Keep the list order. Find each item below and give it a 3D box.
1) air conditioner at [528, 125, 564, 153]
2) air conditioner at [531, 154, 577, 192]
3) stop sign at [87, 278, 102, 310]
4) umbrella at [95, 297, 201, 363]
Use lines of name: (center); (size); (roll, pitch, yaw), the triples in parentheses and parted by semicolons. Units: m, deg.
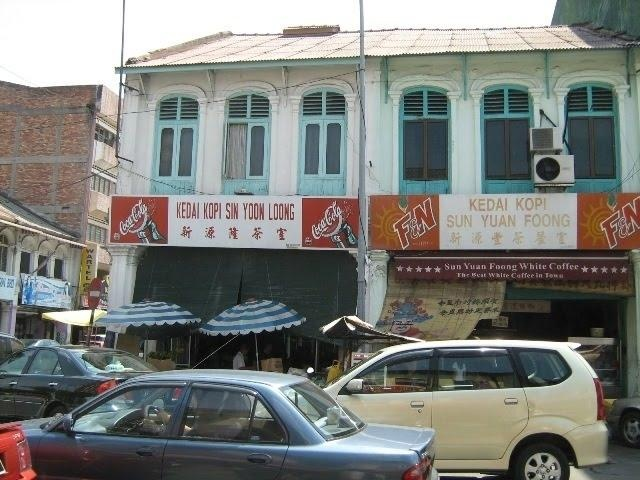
air conditioner: (5.936, -2.560, 18.130); (1.131, 0.862, 0.603); (0, -15, 8)
air conditioner: (6.122, -1.776, 18.091); (1.500, 1.181, 0.791); (-1, -8, 10)
stop sign: (-5.555, 1.337, 16.874); (0.297, 0.787, 0.747); (1, -8, -17)
umbrella: (-4.434, 2.334, 17.796); (2.134, 1.217, 2.043); (1, -7, -19)
